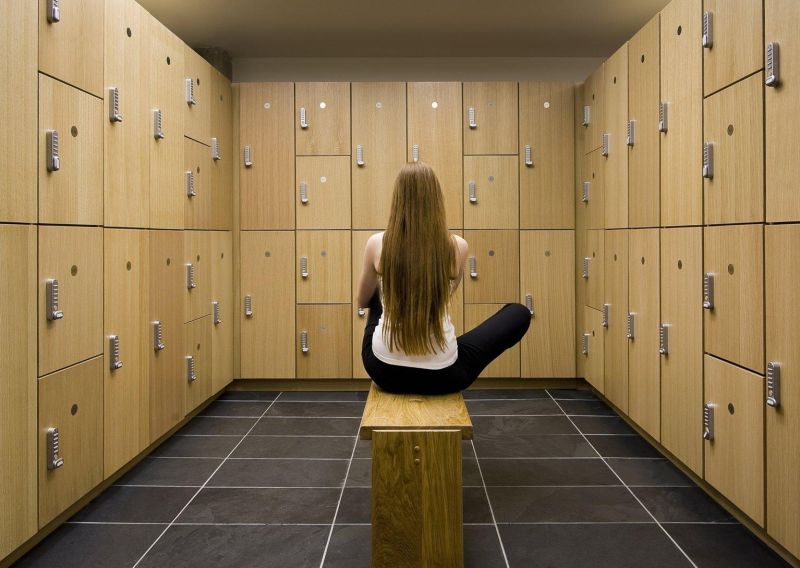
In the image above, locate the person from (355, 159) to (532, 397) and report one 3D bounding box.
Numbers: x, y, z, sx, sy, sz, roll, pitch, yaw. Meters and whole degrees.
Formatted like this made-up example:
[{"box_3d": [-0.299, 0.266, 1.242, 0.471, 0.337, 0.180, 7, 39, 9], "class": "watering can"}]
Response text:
[{"box_3d": [0.155, -0.011, 3.703, 1.248, 1.579, 1.073, 1, 7, 13], "class": "person"}]
